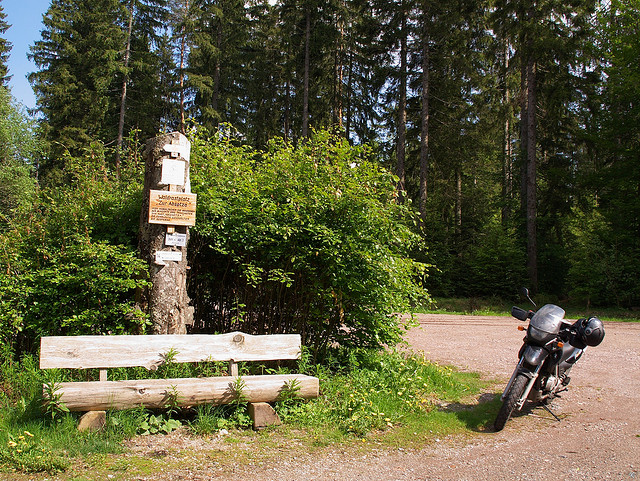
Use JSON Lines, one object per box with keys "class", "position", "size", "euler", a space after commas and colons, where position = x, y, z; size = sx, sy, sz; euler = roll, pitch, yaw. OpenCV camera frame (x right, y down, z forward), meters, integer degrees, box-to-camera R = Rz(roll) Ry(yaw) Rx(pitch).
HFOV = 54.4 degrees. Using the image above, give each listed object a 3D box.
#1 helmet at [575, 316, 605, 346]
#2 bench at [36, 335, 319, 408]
{"class": "helmet", "position": [5.193, 1.730, 11.914], "size": [0.519, 0.559, 0.483], "euler": [45, 15, 28]}
{"class": "bench", "position": [-2.637, 2.357, 11.332], "size": [4.609, 1.284, 0.965], "euler": [1, -2, -12]}
